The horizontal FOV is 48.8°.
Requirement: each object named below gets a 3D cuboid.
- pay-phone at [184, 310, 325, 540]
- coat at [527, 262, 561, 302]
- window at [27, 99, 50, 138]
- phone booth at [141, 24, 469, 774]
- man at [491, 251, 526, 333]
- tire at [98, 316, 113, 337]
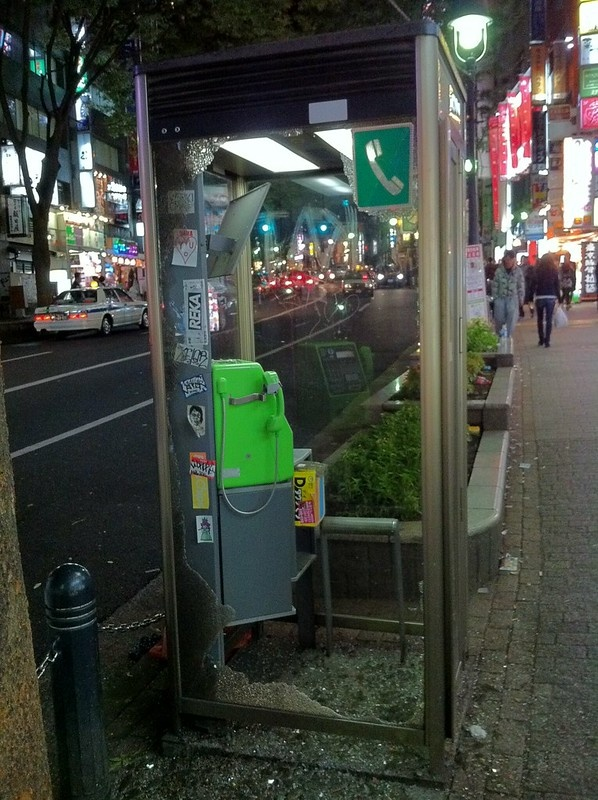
[{"bbox_3d":[-0.256,0.042,3.095,0.450,1.051,0.773,-4,7,-7],"label":"pay-phone"},{"bbox_3d":[6.014,-2.943,16.039,0.561,0.955,0.659,1,6,27],"label":"coat"},{"bbox_3d":[-15.459,-16.225,38.700,0.668,1.891,3.462,-3,6,-13],"label":"window"},{"bbox_3d":[-0.012,-0.443,4.870,1.929,5.887,2.703,0,14,5],"label":"phone booth"},{"bbox_3d":[5.157,-2.560,16.184,0.664,2.306,0.593,1,33,17],"label":"man"},{"bbox_3d":[-6.863,-2.600,23.169,0.182,0.718,0.632,1,-5,10],"label":"tire"}]
